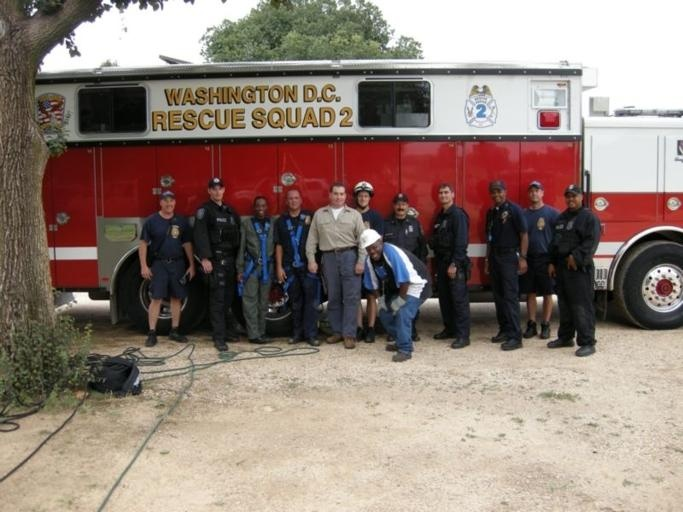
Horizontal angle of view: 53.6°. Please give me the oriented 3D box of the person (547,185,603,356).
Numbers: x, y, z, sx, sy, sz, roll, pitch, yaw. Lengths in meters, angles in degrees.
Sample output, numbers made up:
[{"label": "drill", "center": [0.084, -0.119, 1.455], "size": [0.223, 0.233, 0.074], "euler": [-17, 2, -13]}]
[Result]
[{"label": "person", "center": [3.323, 0.222, 9.627], "size": [0.457, 2.347, 0.841], "euler": [-7, 15, -29]}]

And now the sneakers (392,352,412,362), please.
[{"label": "sneakers", "center": [0.839, 1.412, 9.422], "size": [0.270, 0.128, 0.105], "euler": [7, -7, -30]}]

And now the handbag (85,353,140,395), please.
[{"label": "handbag", "center": [-2.761, 1.385, 8.107], "size": [0.568, 0.242, 0.422], "euler": [5, 2, 20]}]

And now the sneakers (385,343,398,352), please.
[{"label": "sneakers", "center": [0.724, 1.333, 9.857], "size": [0.146, 0.084, 0.204], "euler": [2, 4, -1]}]

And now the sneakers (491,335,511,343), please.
[{"label": "sneakers", "center": [2.419, 1.263, 10.300], "size": [0.280, 0.128, 0.093], "euler": [6, -8, -33]}]

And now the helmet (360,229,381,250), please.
[{"label": "helmet", "center": [0.396, -0.220, 9.356], "size": [0.262, 0.270, 0.231], "euler": [2, 14, 5]}]

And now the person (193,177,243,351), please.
[{"label": "person", "center": [-1.779, 0.080, 10.136], "size": [0.670, 2.389, 0.618], "euler": [-11, 17, -39]}]

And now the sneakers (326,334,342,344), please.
[{"label": "sneakers", "center": [-0.110, 1.281, 10.433], "size": [0.095, 0.129, 0.294], "euler": [0, -12, 36]}]

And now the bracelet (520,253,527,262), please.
[{"label": "bracelet", "center": [2.693, 0.025, 10.040], "size": [0.087, 0.070, 0.103], "euler": [0, -17, 9]}]

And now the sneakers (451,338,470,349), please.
[{"label": "sneakers", "center": [1.761, 1.307, 10.074], "size": [0.308, 0.139, 0.116], "euler": [1, -1, -35]}]

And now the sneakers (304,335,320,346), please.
[{"label": "sneakers", "center": [-0.440, 1.298, 10.277], "size": [0.274, 0.131, 0.096], "euler": [-3, -3, 38]}]

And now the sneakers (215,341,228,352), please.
[{"label": "sneakers", "center": [-1.761, 1.330, 9.955], "size": [0.176, 0.093, 0.243], "euler": [-5, 15, -19]}]

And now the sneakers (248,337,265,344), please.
[{"label": "sneakers", "center": [-1.305, 1.293, 10.316], "size": [0.238, 0.107, 0.092], "euler": [-3, 4, 6]}]

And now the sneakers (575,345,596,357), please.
[{"label": "sneakers", "center": [3.448, 1.339, 9.562], "size": [0.338, 0.145, 0.123], "euler": [-1, 2, -26]}]

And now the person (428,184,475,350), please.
[{"label": "person", "center": [1.630, 0.185, 10.076], "size": [0.456, 2.429, 0.722], "euler": [-5, 14, -21]}]

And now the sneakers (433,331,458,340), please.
[{"label": "sneakers", "center": [1.634, 1.244, 10.677], "size": [0.364, 0.166, 0.127], "euler": [4, -3, -12]}]

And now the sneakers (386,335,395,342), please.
[{"label": "sneakers", "center": [0.747, 1.287, 10.520], "size": [0.111, 0.054, 0.149], "euler": [2, -1, 7]}]

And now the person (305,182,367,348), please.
[{"label": "person", "center": [-0.090, 0.130, 10.087], "size": [0.789, 2.376, 0.447], "euler": [7, 15, 27]}]

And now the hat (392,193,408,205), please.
[{"label": "hat", "center": [0.879, -0.858, 10.161], "size": [0.172, 0.144, 0.254], "euler": [0, 3, 1]}]

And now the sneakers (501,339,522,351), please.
[{"label": "sneakers", "center": [2.480, 1.303, 9.866], "size": [0.334, 0.153, 0.125], "euler": [1, 1, -19]}]

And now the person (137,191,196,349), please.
[{"label": "person", "center": [-2.601, 0.181, 10.127], "size": [0.801, 2.252, 0.686], "euler": [-3, 14, -15]}]

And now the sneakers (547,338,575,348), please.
[{"label": "sneakers", "center": [3.206, 1.288, 9.977], "size": [0.417, 0.179, 0.147], "euler": [1, 0, -3]}]

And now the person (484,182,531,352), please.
[{"label": "person", "center": [2.475, 0.146, 10.018], "size": [0.519, 2.411, 0.927], "euler": [-1, 14, -4]}]

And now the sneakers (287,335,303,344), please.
[{"label": "sneakers", "center": [-0.712, 1.290, 10.418], "size": [0.263, 0.192, 0.091], "euler": [2, -1, -7]}]

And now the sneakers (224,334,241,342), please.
[{"label": "sneakers", "center": [-1.689, 1.278, 10.513], "size": [0.193, 0.092, 0.093], "euler": [-4, 6, 3]}]

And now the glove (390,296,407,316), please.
[{"label": "glove", "center": [0.782, 0.687, 9.415], "size": [0.224, 0.226, 0.082], "euler": [44, 14, 28]}]

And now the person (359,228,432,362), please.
[{"label": "person", "center": [0.683, 0.535, 9.680], "size": [0.886, 1.891, 0.983], "euler": [-10, 17, -36]}]
